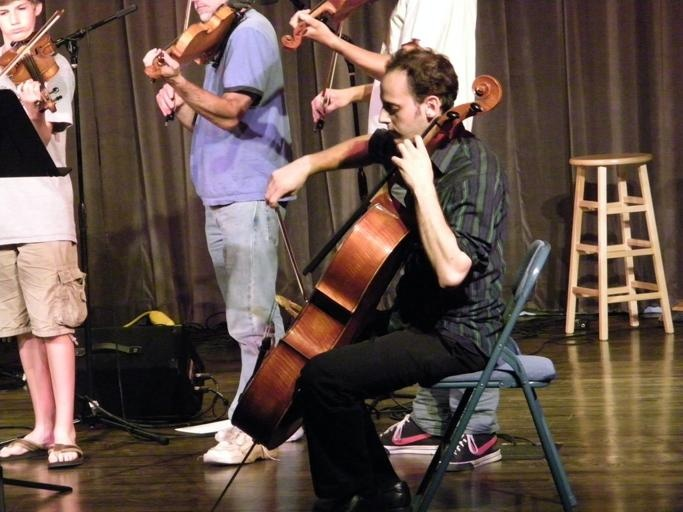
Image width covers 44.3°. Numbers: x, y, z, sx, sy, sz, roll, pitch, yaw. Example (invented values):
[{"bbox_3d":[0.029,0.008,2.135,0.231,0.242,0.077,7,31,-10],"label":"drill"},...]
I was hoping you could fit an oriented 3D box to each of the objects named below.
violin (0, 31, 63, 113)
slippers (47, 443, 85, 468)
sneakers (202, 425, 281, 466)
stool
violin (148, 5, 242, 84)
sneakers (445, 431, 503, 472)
[{"bbox_3d":[-1.230,-0.744,3.373,0.141,0.246,0.429,49,6,-34],"label":"violin"},{"bbox_3d":[-1.167,0.834,3.545,0.151,0.091,0.130,-1,1,-20],"label":"slippers"},{"bbox_3d":[-0.422,0.762,3.449,0.256,0.086,0.184,0,-5,-8],"label":"sneakers"},{"bbox_3d":[1.685,-0.078,5.086,0.616,1.106,0.666,-1,1,19],"label":"stool"},{"bbox_3d":[-0.566,-0.902,3.406,0.236,0.288,0.356,-1,1,24],"label":"violin"},{"bbox_3d":[0.495,0.768,3.340,0.358,0.139,0.123,-2,-8,-41],"label":"sneakers"}]
